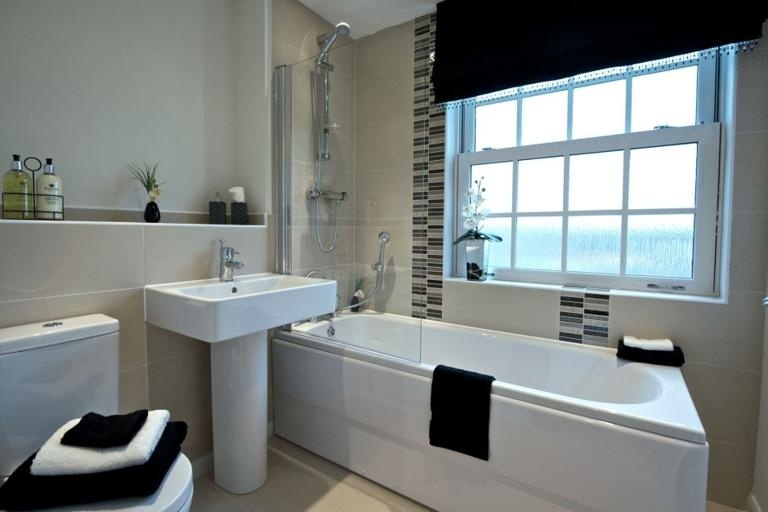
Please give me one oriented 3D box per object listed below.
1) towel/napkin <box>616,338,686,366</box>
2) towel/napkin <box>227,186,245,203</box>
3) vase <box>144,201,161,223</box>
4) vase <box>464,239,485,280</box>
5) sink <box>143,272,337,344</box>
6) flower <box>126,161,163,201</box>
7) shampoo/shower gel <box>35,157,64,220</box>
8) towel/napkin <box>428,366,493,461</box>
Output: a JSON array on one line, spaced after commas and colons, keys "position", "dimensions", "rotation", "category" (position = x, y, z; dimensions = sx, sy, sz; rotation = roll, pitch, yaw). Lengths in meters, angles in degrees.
[{"position": [1.633, 0.576, 3.258], "dimensions": [0.365, 0.138, 0.159], "rotation": [4, 6, 22], "category": "towel/napkin"}, {"position": [-0.983, -0.411, 3.563], "dimensions": [0.125, 0.146, 0.089], "rotation": [2, -4, -13], "category": "towel/napkin"}, {"position": [-1.407, -0.272, 3.243], "dimensions": [0.105, 0.134, 0.128], "rotation": [6, 7, 41], "category": "vase"}, {"position": [0.670, 0.023, 3.923], "dimensions": [0.140, 0.295, 0.083], "rotation": [3, 6, 19], "category": "vase"}, {"position": [-0.844, 0.288, 3.273], "dimensions": [0.600, 0.264, 1.023], "rotation": [7, 7, 44], "category": "sink"}, {"position": [-1.456, -0.452, 3.234], "dimensions": [0.192, 0.224, 0.101], "rotation": [-2, 7, -32], "category": "flower"}, {"position": [-1.846, -0.368, 2.915], "dimensions": [0.133, 0.333, 0.159], "rotation": [-2, 7, -30], "category": "shampoo/shower gel"}, {"position": [0.445, 0.890, 3.013], "dimensions": [0.380, 0.456, 0.114], "rotation": [3, 3, 31], "category": "towel/napkin"}]
